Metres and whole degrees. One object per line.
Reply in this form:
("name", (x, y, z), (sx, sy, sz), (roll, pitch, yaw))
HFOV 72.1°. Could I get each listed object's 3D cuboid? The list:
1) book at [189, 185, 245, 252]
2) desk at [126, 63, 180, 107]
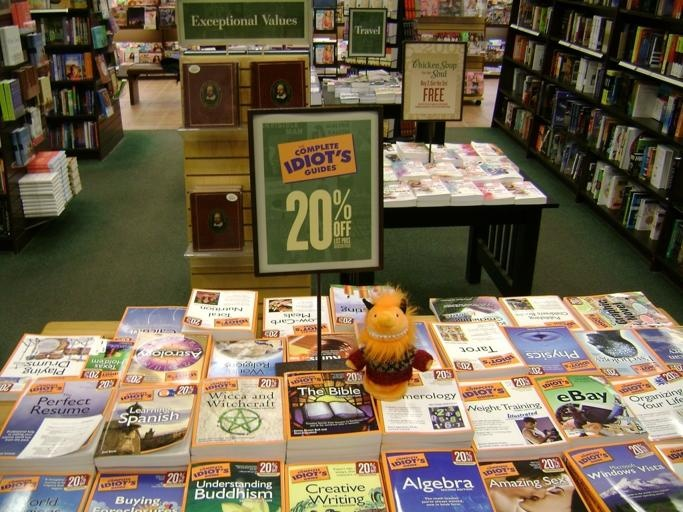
("book", (-0.784, -0.222, 2.923), (0.326, 0.370, 0.177), (-5, 28, -1))
("desk", (-4.371, -4.039, 10.782), (1.099, 0.718, 2.959), (-12, 27, -17))
